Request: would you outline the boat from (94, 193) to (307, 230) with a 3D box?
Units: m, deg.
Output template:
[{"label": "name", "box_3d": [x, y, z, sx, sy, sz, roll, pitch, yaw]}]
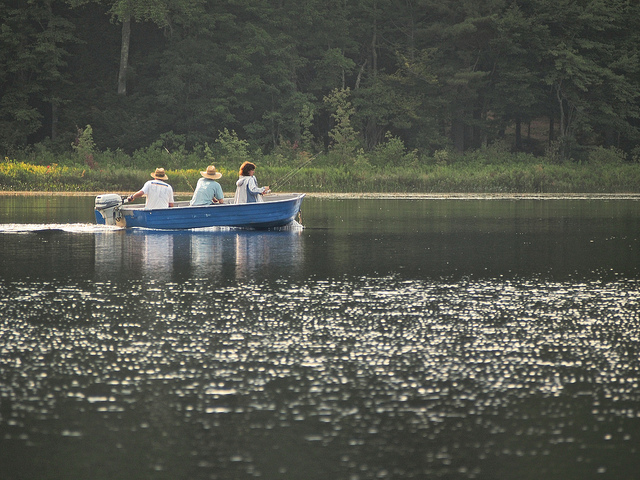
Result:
[{"label": "boat", "box_3d": [-4.381, -0.896, 46.943, 7.922, 1.300, 2.403, -3, 4, -3]}]

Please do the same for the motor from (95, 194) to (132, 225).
[{"label": "motor", "box_3d": [-7.476, -1.162, 47.970, 0.752, 1.075, 2.805, -1, 7, 18]}]

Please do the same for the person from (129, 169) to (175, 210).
[{"label": "person", "box_3d": [-5.906, -1.730, 46.501, 1.125, 1.631, 0.962, -4, 8, -23]}]

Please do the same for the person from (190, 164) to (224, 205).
[{"label": "person", "box_3d": [-4.031, -1.920, 46.501, 1.124, 1.396, 1.192, -1, 5, -4]}]
